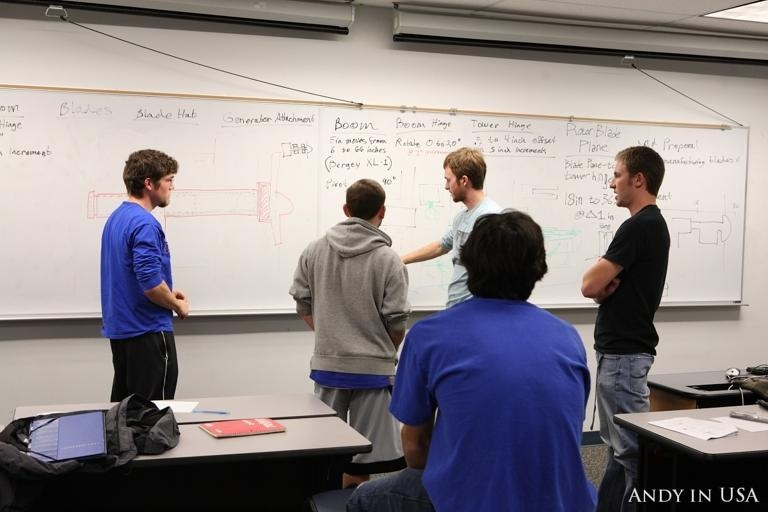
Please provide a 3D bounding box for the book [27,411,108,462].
[{"bbox_3d":[-1.417,0.794,2.615,0.314,0.113,0.385,-3,9,-27],"label":"book"}]

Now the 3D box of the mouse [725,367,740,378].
[{"bbox_3d":[2.137,0.713,3.595,0.069,0.047,0.080,-3,2,11],"label":"mouse"}]

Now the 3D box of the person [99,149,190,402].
[{"bbox_3d":[-1.460,0.124,3.470,0.521,1.499,0.461,0,8,-6],"label":"person"}]

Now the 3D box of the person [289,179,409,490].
[{"bbox_3d":[-0.197,0.590,3.536,0.760,2.023,0.667,4,2,10],"label":"person"}]
